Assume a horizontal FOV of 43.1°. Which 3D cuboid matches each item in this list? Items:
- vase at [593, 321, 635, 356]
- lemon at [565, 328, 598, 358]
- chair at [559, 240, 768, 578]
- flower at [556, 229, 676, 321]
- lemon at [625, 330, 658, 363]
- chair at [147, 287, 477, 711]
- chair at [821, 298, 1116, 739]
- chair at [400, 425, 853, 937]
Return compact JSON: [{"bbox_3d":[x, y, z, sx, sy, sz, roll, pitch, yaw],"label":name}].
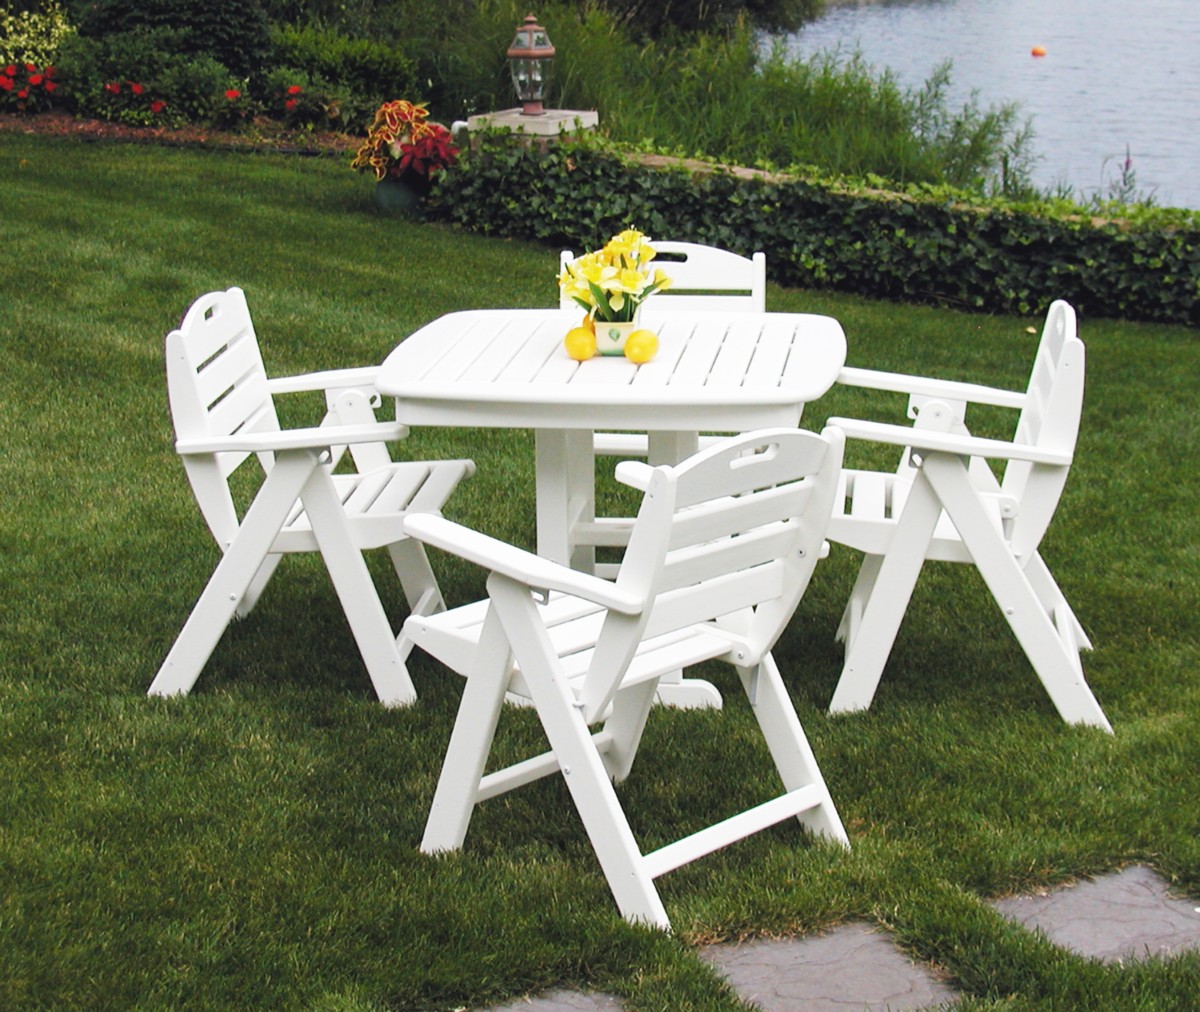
[{"bbox_3d":[0.038,-0.559,4.967,0.083,0.101,0.116,1,10,14],"label":"vase"},{"bbox_3d":[-0.057,-0.531,4.922,0.068,0.092,0.097,-5,11,-27],"label":"lemon"},{"bbox_3d":[0.156,-0.464,6.353,0.906,2.131,1.264,0,9,-3],"label":"chair"},{"bbox_3d":[0.062,-0.736,5.077,0.280,0.323,0.332,7,28,14],"label":"flower"},{"bbox_3d":[0.136,-0.515,4.893,0.106,0.102,0.118,3,22,-2],"label":"lemon"},{"bbox_3d":[-0.946,-0.046,5.117,0.766,1.351,0.986,-1,15,0],"label":"chair"},{"bbox_3d":[1.256,0.170,5.166,0.806,1.458,0.970,-4,-12,19],"label":"chair"},{"bbox_3d":[0.075,0.358,4.209,1.126,1.473,1.083,14,23,29],"label":"chair"}]
